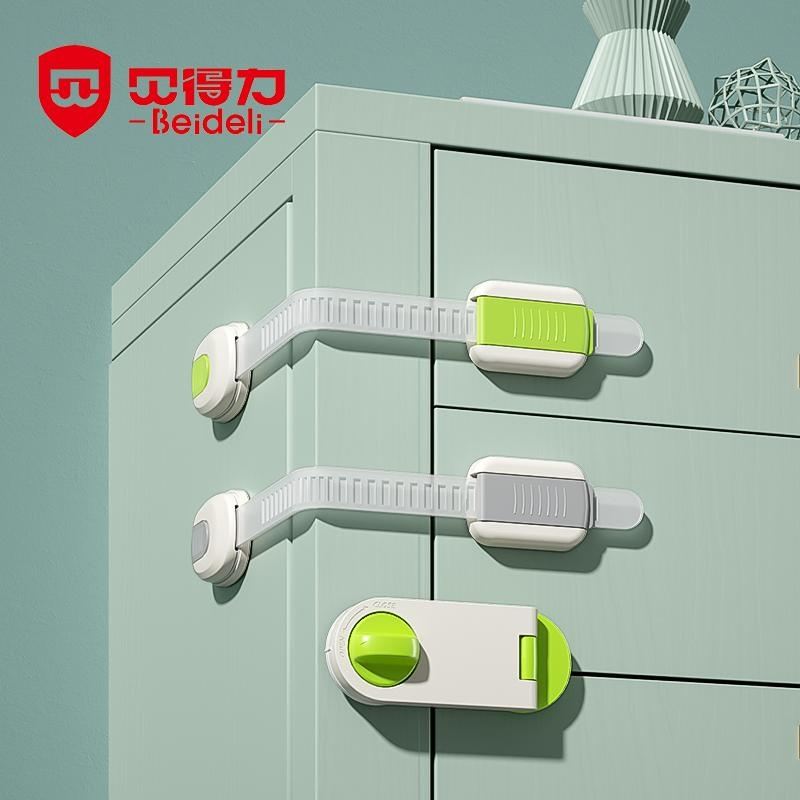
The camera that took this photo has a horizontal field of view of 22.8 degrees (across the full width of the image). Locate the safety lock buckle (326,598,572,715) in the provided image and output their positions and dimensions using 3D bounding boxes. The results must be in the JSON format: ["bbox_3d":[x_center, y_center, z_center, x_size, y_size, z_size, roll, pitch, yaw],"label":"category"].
[{"bbox_3d":[0.040,0.189,1.423,0.156,0.101,0.055,5,-11,-17],"label":"safety lock buckle"}]
